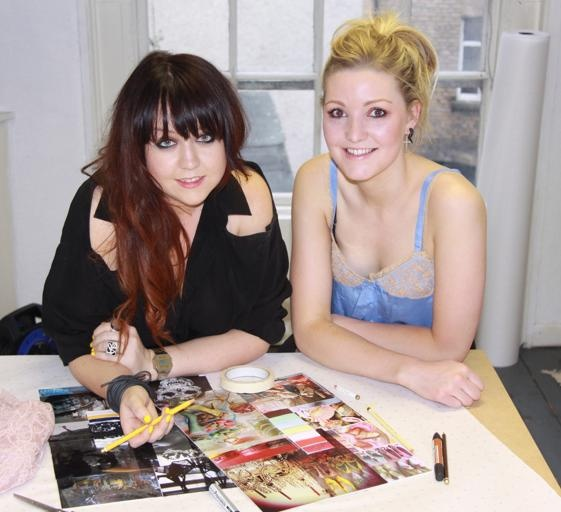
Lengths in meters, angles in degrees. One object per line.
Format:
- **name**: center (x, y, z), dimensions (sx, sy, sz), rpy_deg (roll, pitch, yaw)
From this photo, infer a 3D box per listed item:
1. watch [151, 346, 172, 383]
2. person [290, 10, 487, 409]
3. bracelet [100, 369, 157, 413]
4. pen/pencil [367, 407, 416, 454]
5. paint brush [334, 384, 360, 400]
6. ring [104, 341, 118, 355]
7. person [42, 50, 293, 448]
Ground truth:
- **watch**: center (-0.272, 0.246, 1.177), dimensions (0.035, 0.060, 0.063), rpy_deg (1, 58, -29)
- **person**: center (0.305, -0.133, 1.426), dimensions (0.450, 0.923, 0.638), rpy_deg (-7, 10, -40)
- **bracelet**: center (-0.303, 0.249, 1.032), dimensions (0.095, 0.059, 0.097), rpy_deg (-6, 16, -35)
- **pen/pencil**: center (0.185, 0.299, 0.963), dimensions (0.020, 0.021, 0.184), rpy_deg (-11, 27, -25)
- **paint brush**: center (0.134, 0.275, 1.079), dimensions (0.016, 0.016, 0.083), rpy_deg (-6, 13, -34)
- **ring**: center (-0.384, 0.205, 1.163), dimensions (0.024, 0.028, 0.009), rpy_deg (0, -16, 18)
- **person**: center (-0.327, 0.032, 1.406), dimensions (0.490, 0.981, 0.518), rpy_deg (-4, 9, -25)
